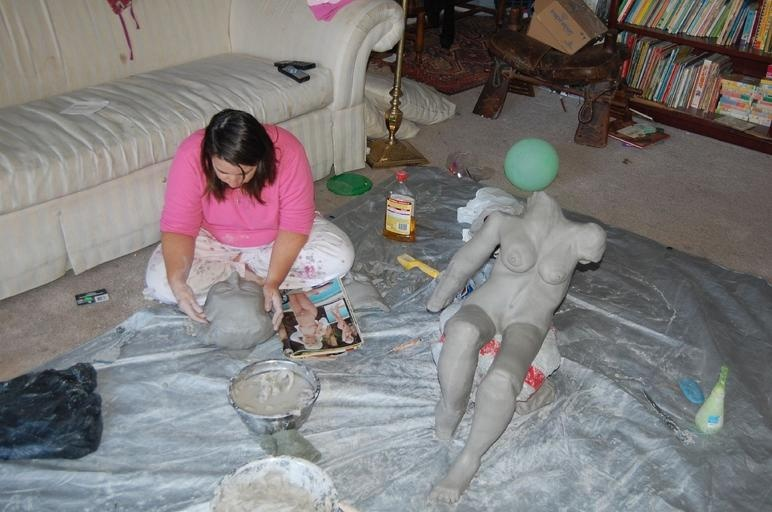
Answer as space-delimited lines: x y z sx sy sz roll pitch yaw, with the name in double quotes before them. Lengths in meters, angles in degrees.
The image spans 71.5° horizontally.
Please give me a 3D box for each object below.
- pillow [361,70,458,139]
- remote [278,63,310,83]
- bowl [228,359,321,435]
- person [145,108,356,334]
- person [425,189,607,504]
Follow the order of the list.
"pillow" 0.167 -1.053 3.752 0.559 0.179 0.596 -28 51 -35
"remote" -0.538 -1.072 3.085 0.189 0.046 0.101 35 48 29
"bowl" -0.434 0.549 2.000 0.361 0.129 0.357 6 25 -3
"person" -0.579 -0.189 2.305 0.663 0.902 0.790 32 43 29
"person" 0.533 0.274 2.133 0.593 1.173 0.379 14 -6 22
